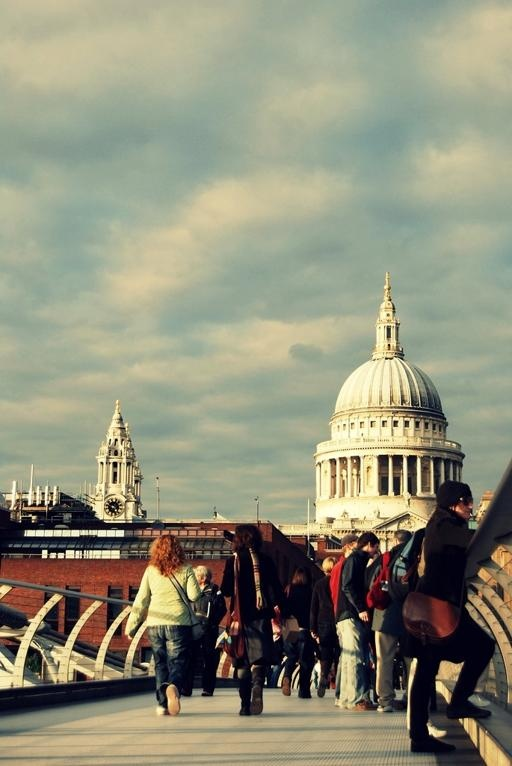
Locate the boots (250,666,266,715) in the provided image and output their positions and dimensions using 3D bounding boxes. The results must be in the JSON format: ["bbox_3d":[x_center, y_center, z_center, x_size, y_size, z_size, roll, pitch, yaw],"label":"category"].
[{"bbox_3d":[0.015,2.646,11.932,0.141,0.294,0.438,4,-8,1],"label":"boots"}]

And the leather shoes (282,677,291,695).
[{"bbox_3d":[0.350,3.550,15.665,0.080,0.217,0.093,-6,-14,15],"label":"leather shoes"}]

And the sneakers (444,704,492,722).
[{"bbox_3d":[1.461,2.273,9.178,0.254,0.106,0.132,-4,0,-1],"label":"sneakers"}]

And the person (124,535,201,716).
[{"bbox_3d":[-0.819,2.137,11.849,0.517,1.588,0.796,8,-12,-35],"label":"person"}]

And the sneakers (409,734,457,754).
[{"bbox_3d":[1.169,2.439,9.071,0.370,0.145,0.119,-1,1,-2],"label":"sneakers"}]

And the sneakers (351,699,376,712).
[{"bbox_3d":[1.073,3.186,13.188,0.152,0.066,0.201,0,-4,43],"label":"sneakers"}]

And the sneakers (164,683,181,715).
[{"bbox_3d":[-0.723,2.713,11.456,0.118,0.317,0.137,-4,-2,14],"label":"sneakers"}]

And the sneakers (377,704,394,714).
[{"bbox_3d":[1.230,3.091,12.741,0.076,0.069,0.145,2,-1,-4],"label":"sneakers"}]
